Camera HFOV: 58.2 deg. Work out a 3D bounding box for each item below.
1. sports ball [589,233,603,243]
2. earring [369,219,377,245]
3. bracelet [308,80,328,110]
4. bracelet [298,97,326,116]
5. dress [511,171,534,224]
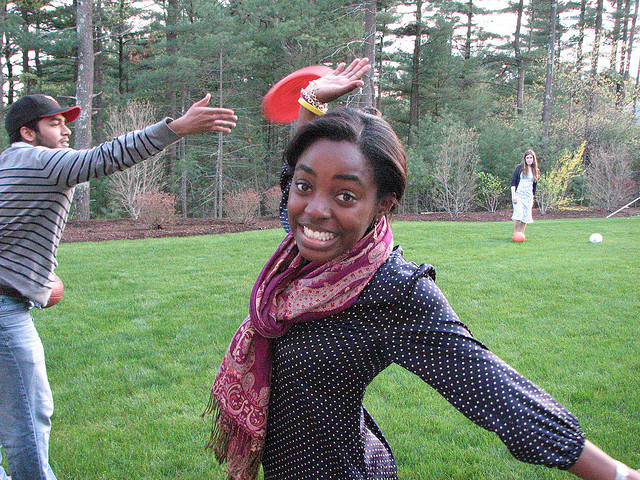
[{"bbox_3d":[5.749,-0.052,12.133,0.211,0.221,0.219,-5,-16,-2],"label":"sports ball"},{"bbox_3d":[0.322,-0.047,3.484,0.041,0.125,0.104,0,12,4],"label":"earring"},{"bbox_3d":[-0.034,-1.006,4.006,0.040,0.169,0.131,-15,-9,-14],"label":"bracelet"},{"bbox_3d":[-0.057,-0.929,3.990,0.172,0.122,0.083,-1,12,-1],"label":"bracelet"},{"bbox_3d":[4.463,-0.939,12.723,0.395,1.131,0.534,3,13,18],"label":"dress"}]
